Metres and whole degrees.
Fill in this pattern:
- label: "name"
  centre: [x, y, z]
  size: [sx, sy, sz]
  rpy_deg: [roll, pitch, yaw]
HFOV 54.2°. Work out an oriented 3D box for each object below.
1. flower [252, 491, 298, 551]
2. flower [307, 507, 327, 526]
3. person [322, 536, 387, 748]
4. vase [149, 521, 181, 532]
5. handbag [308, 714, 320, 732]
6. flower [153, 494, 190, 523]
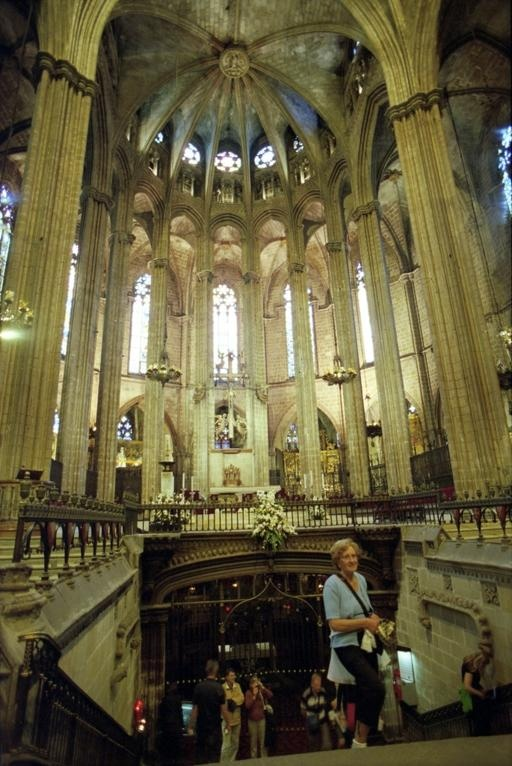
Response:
- label: "flower"
  centre: [0.231, 2.829, 10.245]
  size: [0.632, 0.823, 0.685]
  rpy_deg: [-11, -12, 16]
- label: "flower"
  centre: [1.456, 3.159, 12.034]
  size: [0.512, 0.222, 0.471]
  rpy_deg: [1, -13, 3]
- label: "person"
  centre: [0.527, 1.396, 2.716]
  size: [0.302, 1.066, 0.389]
  rpy_deg: [-4, -14, 4]
- label: "vase"
  centre: [-1.840, 2.799, 9.773]
  size: [0.698, 0.217, 0.526]
  rpy_deg: [-5, -14, 4]
- label: "handbag"
  centre: [0.661, 3.970, 5.855]
  size: [0.123, 0.166, 0.136]
  rpy_deg: [-5, -14, 5]
- label: "flower"
  centre: [-1.828, 2.643, 10.731]
  size: [0.726, 0.588, 1.684]
  rpy_deg: [-1, -15, -9]
